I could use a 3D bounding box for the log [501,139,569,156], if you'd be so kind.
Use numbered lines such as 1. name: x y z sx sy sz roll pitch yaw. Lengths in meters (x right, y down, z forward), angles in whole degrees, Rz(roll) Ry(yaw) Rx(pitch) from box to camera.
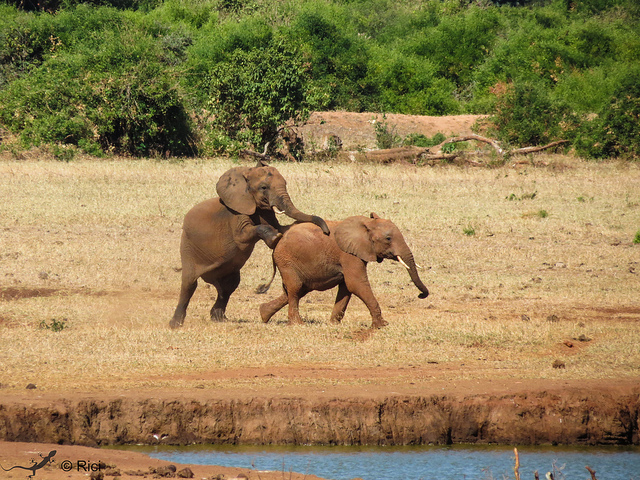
1. log: 8.461 -3.631 58.436 2.304 0.276 0.321 -11 -11 -14

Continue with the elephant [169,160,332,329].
1. elephant: -2.193 0.154 42.564 5.523 4.077 2.448 -15 -11 37

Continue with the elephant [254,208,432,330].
1. elephant: 0.508 0.914 42.874 5.206 3.345 2.191 0 2 4
